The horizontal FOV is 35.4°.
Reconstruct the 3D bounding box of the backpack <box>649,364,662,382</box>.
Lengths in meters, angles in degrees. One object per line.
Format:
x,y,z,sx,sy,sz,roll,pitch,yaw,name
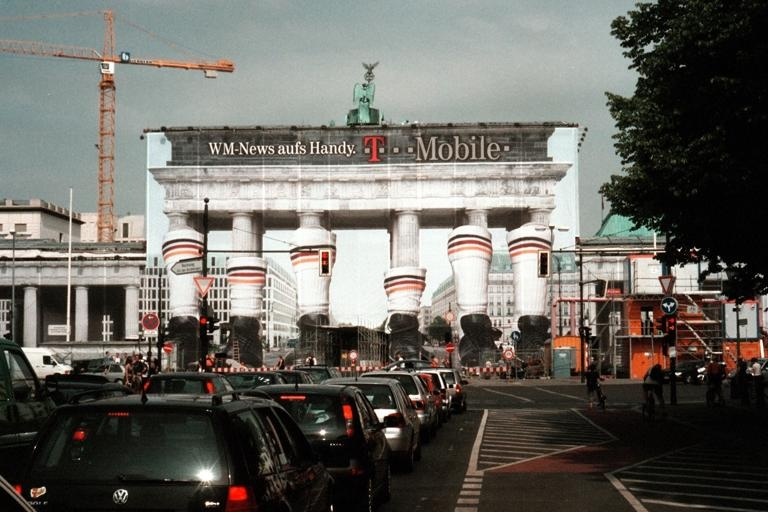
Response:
9.776,4.087,41.788,0.203,0.667,0.499,14,-32,-16,backpack

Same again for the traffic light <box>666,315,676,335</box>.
11.457,2.665,46.277,0.241,0.727,0.544,-7,-8,32,traffic light

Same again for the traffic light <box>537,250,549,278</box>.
7.081,0.309,51.449,0.466,1.034,0.869,-3,-7,5,traffic light

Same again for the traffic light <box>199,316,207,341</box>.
-7.119,2.696,45.294,0.308,0.870,0.499,-1,-7,-8,traffic light

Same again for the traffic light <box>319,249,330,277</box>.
-2.668,0.267,50.659,0.369,0.953,0.845,-1,-7,-8,traffic light
